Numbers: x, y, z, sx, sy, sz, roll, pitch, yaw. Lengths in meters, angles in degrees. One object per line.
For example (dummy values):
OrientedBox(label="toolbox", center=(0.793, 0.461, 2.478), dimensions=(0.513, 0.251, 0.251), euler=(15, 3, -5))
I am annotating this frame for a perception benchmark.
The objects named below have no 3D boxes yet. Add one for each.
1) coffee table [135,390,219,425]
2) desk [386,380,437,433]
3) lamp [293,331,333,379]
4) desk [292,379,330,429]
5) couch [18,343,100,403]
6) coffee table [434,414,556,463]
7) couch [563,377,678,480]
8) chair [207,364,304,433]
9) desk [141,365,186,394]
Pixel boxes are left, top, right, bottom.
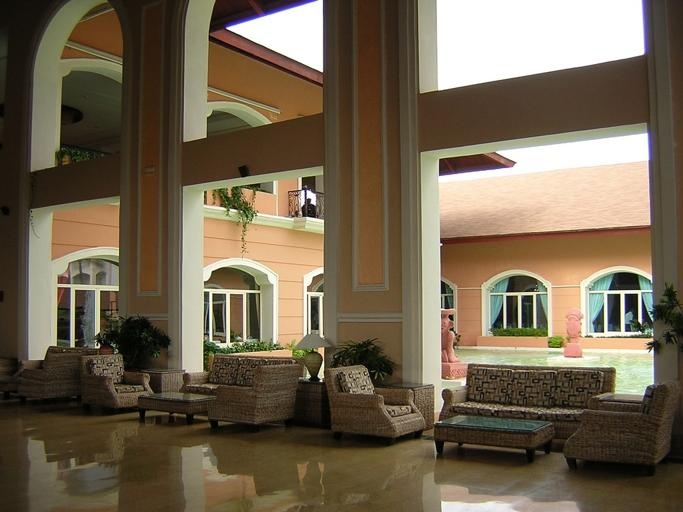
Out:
OrientedBox(label="coffee table", center=(-2.454, 2.303, 8.299), dimensions=(1.509, 0.430, 0.543), euler=(-3, -5, 32))
OrientedBox(label="desk", center=(0.990, 1.969, 7.713), dimensions=(0.824, 0.804, 0.587), euler=(4, -5, -38))
OrientedBox(label="lamp", center=(-0.362, 1.459, 8.359), dimensions=(0.754, 0.835, 0.690), euler=(0, -5, -20))
OrientedBox(label="desk", center=(-0.461, 2.166, 8.051), dimensions=(0.748, 0.555, 0.825), euler=(2, -4, 2))
OrientedBox(label="couch", center=(-5.178, 2.160, 9.867), dimensions=(1.131, 1.057, 1.133), euler=(-1, -4, 37))
OrientedBox(label="coffee table", center=(1.772, 2.109, 6.359), dimensions=(1.285, 0.389, 0.736), euler=(-2, -5, 21))
OrientedBox(label="couch", center=(3.011, 1.797, 5.890), dimensions=(1.168, 0.915, 0.714), euler=(-2, -5, 21))
OrientedBox(label="chair", center=(-1.220, 1.903, 7.869), dimensions=(1.035, 0.843, 1.034), euler=(-1, -6, 21))
OrientedBox(label="desk", center=(-3.144, 2.133, 9.682), dimensions=(0.548, 0.533, 0.562), euler=(-6, -8, 38))
